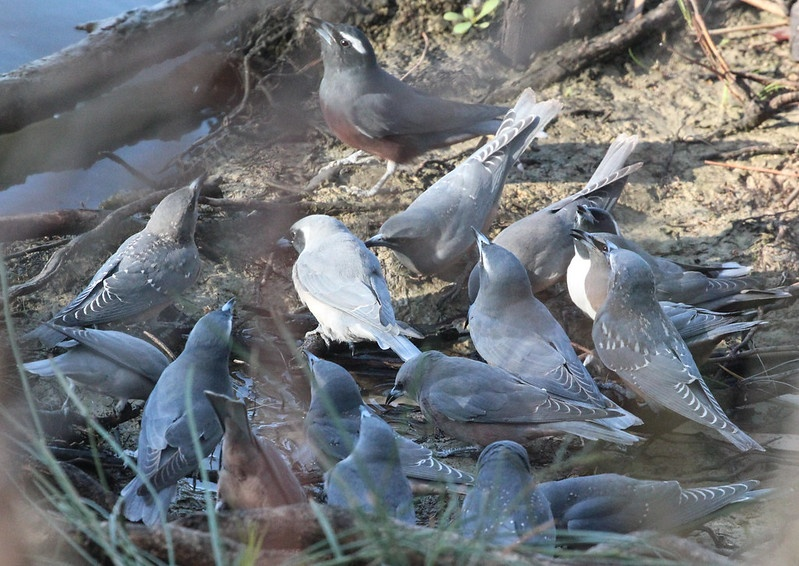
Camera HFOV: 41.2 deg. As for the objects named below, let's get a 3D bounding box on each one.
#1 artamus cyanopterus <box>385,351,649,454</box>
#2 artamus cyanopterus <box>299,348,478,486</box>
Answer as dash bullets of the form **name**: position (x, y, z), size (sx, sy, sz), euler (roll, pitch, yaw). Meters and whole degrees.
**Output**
- **artamus cyanopterus**: position (0.813, 0.954, 8.555), size (2.162, 0.824, 0.715), euler (-3, 2, 19)
- **artamus cyanopterus**: position (-0.072, 1.061, 8.124), size (1.377, 0.670, 0.434), euler (21, 41, 29)
